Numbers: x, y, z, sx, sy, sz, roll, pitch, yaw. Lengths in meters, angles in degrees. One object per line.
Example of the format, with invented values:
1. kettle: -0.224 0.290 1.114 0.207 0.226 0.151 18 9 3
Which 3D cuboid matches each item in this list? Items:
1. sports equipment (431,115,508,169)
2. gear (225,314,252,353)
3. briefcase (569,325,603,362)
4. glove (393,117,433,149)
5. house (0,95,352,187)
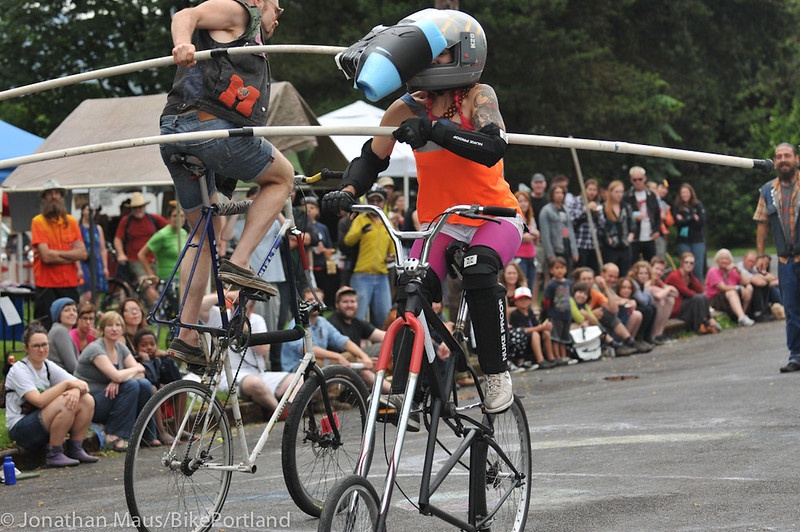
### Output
1. sports equipment: 0.777 -1.449 16.255 0.677 0.300 0.538 22 -4 3
2. gear: -1.895 0.800 16.982 0.429 0.401 0.069 20 -1 -40
3. briefcase: 3.126 1.341 24.638 0.589 0.552 0.208 -10 -2 -14
4. glove: 0.153 -1.474 16.233 0.440 0.337 0.316 -4 -1 -1
5. house: -4.258 -1.855 22.447 3.217 0.918 2.372 -4 -1 19
